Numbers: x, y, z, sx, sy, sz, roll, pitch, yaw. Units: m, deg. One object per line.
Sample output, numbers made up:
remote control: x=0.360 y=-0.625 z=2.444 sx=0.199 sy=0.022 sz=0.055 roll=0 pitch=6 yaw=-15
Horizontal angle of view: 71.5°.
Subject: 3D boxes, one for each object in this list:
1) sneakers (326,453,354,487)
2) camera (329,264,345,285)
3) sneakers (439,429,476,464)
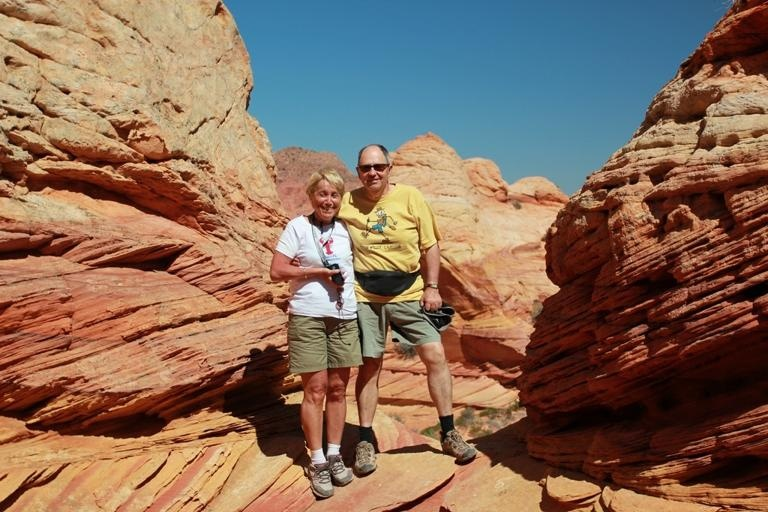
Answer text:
sneakers: x=-0.500 y=2.319 z=5.842 sx=0.215 sy=0.158 sz=0.460 roll=-8 pitch=5 yaw=-32
camera: x=-0.503 y=0.195 z=5.631 sx=0.144 sy=0.179 sz=0.070 roll=-8 pitch=-3 yaw=-3
sneakers: x=0.885 y=2.163 z=6.156 sx=0.258 sy=0.233 sz=0.572 roll=-32 pitch=13 yaw=-31
